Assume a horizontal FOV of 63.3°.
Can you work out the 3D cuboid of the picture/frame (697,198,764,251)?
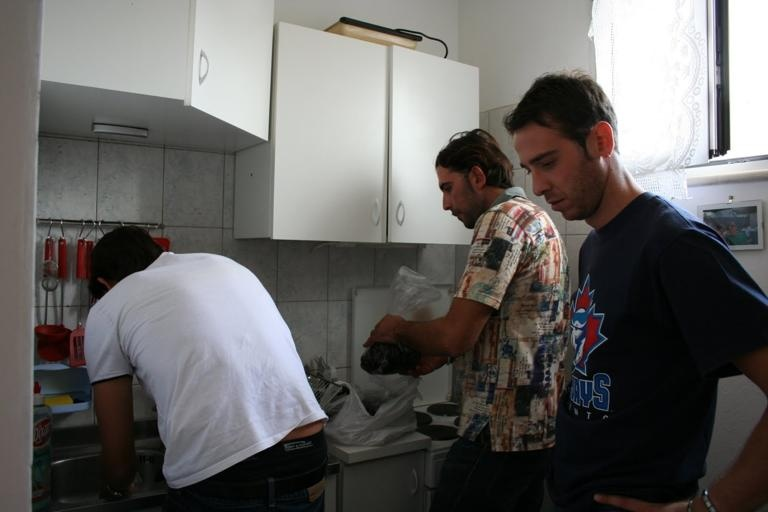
[{"bbox_3d":[1.143,-0.100,2.027,0.024,0.164,0.183,5,-3,-40],"label":"picture/frame"}]
